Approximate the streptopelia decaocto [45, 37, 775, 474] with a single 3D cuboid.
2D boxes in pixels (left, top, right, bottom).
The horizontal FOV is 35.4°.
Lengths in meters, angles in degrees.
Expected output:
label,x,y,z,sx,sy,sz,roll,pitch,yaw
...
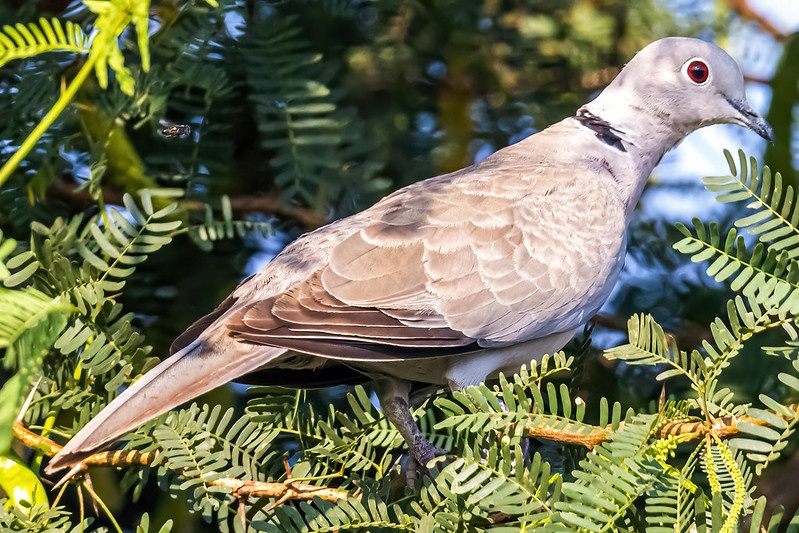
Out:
label,x,y,z,sx,sy,sz,roll,pitch,yaw
streptopelia decaocto,0.160,-0.054,4.486,2.450,1.527,0.792,-2,1,-12
